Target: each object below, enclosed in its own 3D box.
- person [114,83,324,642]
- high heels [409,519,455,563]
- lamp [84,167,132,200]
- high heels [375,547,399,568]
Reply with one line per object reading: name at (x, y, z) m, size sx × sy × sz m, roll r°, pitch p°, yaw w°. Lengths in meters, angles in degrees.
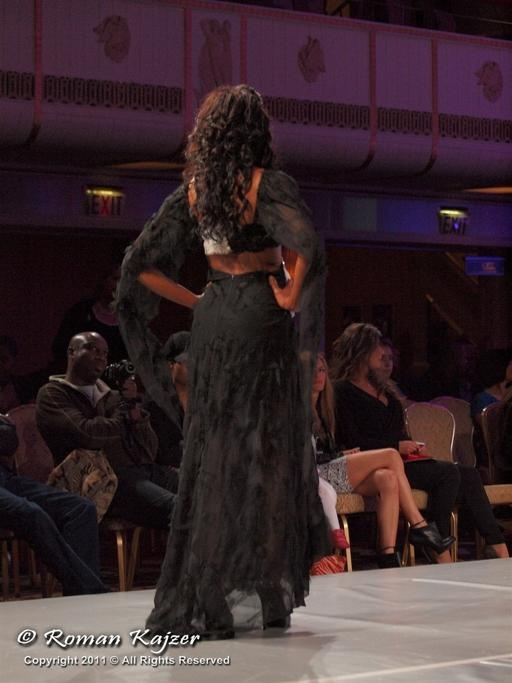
person at (-0.105, 0.044, 1.997) m, size 0.608 × 1.288 × 0.259 m, roll -2°, pitch -6°, yaw 29°
high heels at (0.810, 0.931, 3.760) m, size 0.196 × 0.169 × 0.204 m, roll 2°, pitch -5°, yaw -17°
lamp at (-1.340, -1.406, 7.366) m, size 0.344 × 0.194 × 0.296 m, roll 3°, pitch -24°, yaw -25°
high heels at (0.599, 0.994, 3.689) m, size 0.057 × 0.056 × 0.156 m, roll 1°, pitch -12°, yaw -17°
